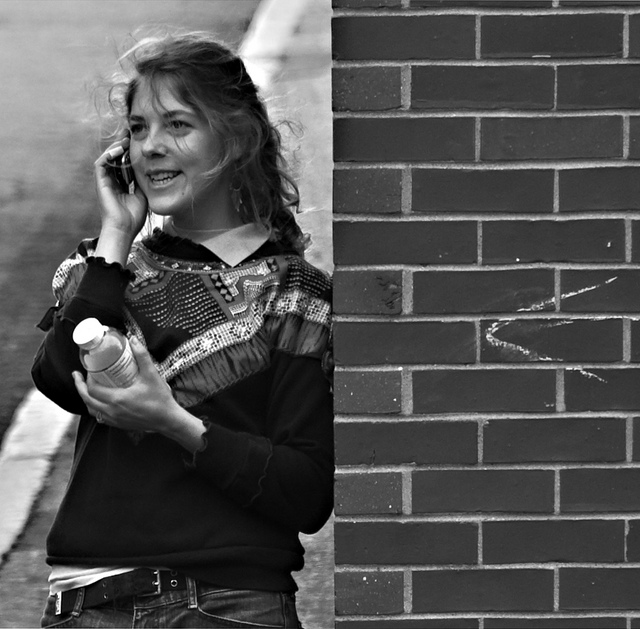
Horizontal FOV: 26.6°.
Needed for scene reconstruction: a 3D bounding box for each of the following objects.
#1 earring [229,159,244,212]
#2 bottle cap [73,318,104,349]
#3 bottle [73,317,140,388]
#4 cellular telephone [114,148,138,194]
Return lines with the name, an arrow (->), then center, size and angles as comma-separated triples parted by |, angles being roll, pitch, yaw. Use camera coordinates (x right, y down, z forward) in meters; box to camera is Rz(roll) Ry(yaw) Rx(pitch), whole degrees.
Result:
earring -> -0.208, -0.318, 3.326 | 0.037, 0.057, 0.107 | 6, 54, -6
bottle cap -> -0.495, 0.040, 2.879 | 0.063, 0.047, 0.064 | 1, 54, -11
bottle -> -0.468, 0.085, 2.931 | 0.080, 0.149, 0.091 | -15, 52, 21
cellular telephone -> -0.501, -0.348, 3.435 | 0.049, 0.113, 0.096 | -8, 55, -16
